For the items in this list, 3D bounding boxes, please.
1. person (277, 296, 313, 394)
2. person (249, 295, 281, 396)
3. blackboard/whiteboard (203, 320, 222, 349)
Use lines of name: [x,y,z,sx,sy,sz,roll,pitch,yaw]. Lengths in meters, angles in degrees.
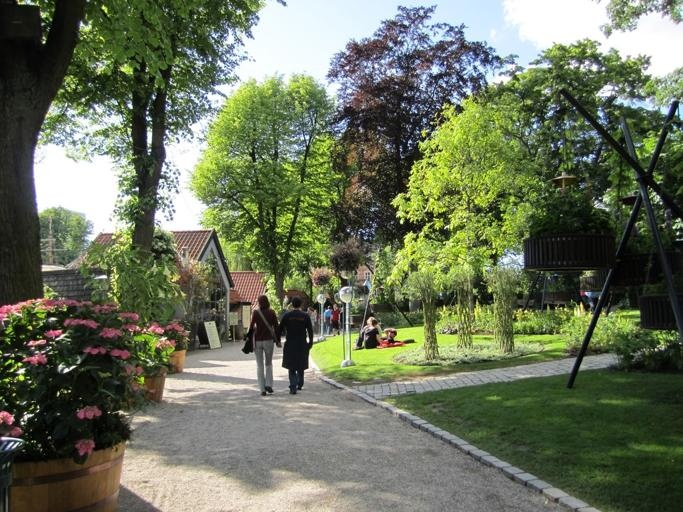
person: [-1.049,2.018,12.695,0.783,2.351,0.725,4,15,2]
person: [-1.758,2.035,12.593,0.640,1.841,1.346,-4,1,-7]
blackboard/whiteboard: [-6.433,3.939,27.011,0.098,1.153,1.544,-24,-7,-1]
